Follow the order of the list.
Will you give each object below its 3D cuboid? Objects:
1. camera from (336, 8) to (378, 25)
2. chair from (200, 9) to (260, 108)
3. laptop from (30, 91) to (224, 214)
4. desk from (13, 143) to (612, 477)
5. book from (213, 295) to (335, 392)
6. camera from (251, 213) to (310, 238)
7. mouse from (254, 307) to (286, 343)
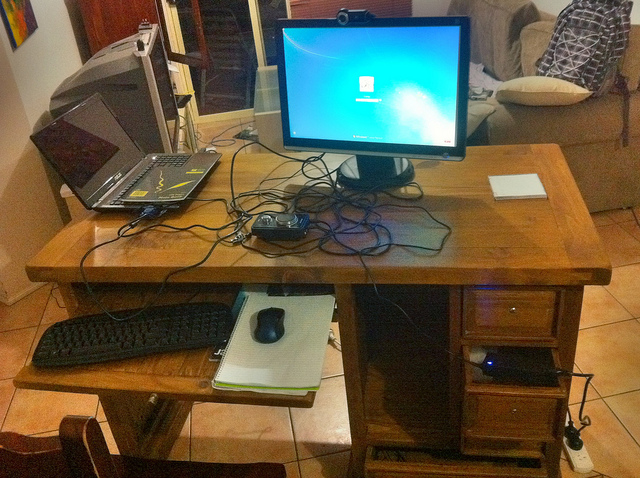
[{"bbox_3d":[0.112,-0.738,1.746,0.103,0.033,0.060,2,29,7],"label":"camera"},{"bbox_3d":[-1.026,-1.947,5.575,0.591,0.838,0.500,0,40,5],"label":"chair"},{"bbox_3d":[-0.677,-0.324,1.954,0.488,0.288,0.492,3,38,9],"label":"laptop"},{"bbox_3d":[0.116,0.505,2.414,2.180,1.253,1.348,2,38,6],"label":"desk"},{"bbox_3d":[-0.138,0.309,1.687,0.314,0.085,0.379,3,37,8],"label":"book"},{"bbox_3d":[-0.134,-0.049,1.682,0.155,0.046,0.084,2,33,5],"label":"camera"},{"bbox_3d":[-0.164,0.261,1.739,0.120,0.054,0.168,-1,33,4],"label":"mouse"}]
